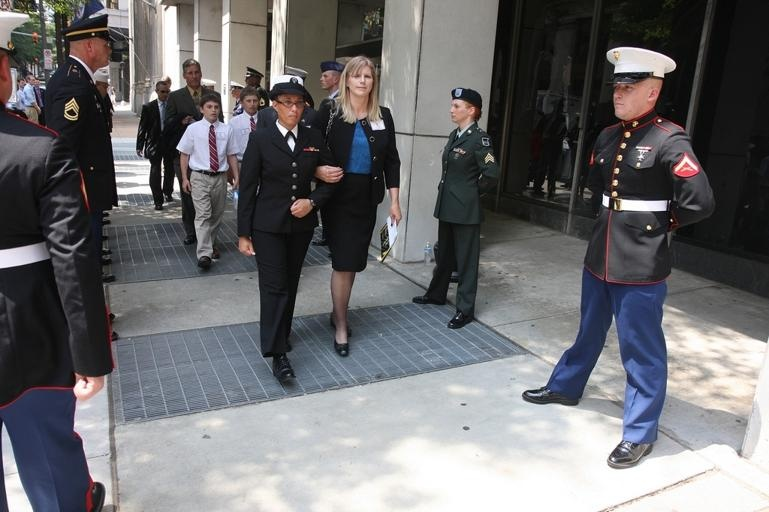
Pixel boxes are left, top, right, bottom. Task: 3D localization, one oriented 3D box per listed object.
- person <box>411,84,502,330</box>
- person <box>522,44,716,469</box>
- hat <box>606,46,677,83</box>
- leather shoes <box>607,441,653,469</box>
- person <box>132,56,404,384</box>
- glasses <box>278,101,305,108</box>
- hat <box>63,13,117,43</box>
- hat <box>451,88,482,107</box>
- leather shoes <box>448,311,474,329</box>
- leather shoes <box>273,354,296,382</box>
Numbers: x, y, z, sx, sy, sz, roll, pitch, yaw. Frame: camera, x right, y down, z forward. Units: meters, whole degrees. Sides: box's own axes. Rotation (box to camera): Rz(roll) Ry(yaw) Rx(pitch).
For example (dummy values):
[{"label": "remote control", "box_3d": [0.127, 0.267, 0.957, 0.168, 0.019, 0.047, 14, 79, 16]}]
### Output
[{"label": "person", "box_3d": [0.760, -0.512, 5.281, 0.736, 2.286, 0.996, 1, 21, 2]}, {"label": "person", "box_3d": [1.695, -0.025, 3.530, 0.735, 2.637, 1.108, -7, 22, -18]}, {"label": "hat", "box_3d": [1.727, -1.272, 3.430, 0.332, 0.143, 0.318, 8, 13, -14]}, {"label": "leather shoes", "box_3d": [1.687, 1.331, 3.534, 0.362, 0.144, 0.131, -13, 20, -25]}, {"label": "person", "box_3d": [-0.625, -0.393, 4.428, 0.691, 2.498, 1.454, 19, 28, 41]}, {"label": "glasses", "box_3d": [-0.761, -1.220, 4.126, 0.212, 0.048, 0.103, -7, 21, -20]}, {"label": "hat", "box_3d": [-2.535, -1.909, 4.350, 0.332, 0.147, 0.256, -14, 30, -33]}, {"label": "hat", "box_3d": [0.836, -1.583, 5.170, 0.273, 0.099, 0.209, 18, 6, -13]}, {"label": "leather shoes", "box_3d": [0.764, 0.652, 5.292, 0.330, 0.138, 0.115, -10, 20, -42]}, {"label": "leather shoes", "box_3d": [-0.840, 0.916, 4.209, 0.169, 0.189, 0.225, -8, 22, -22]}]
